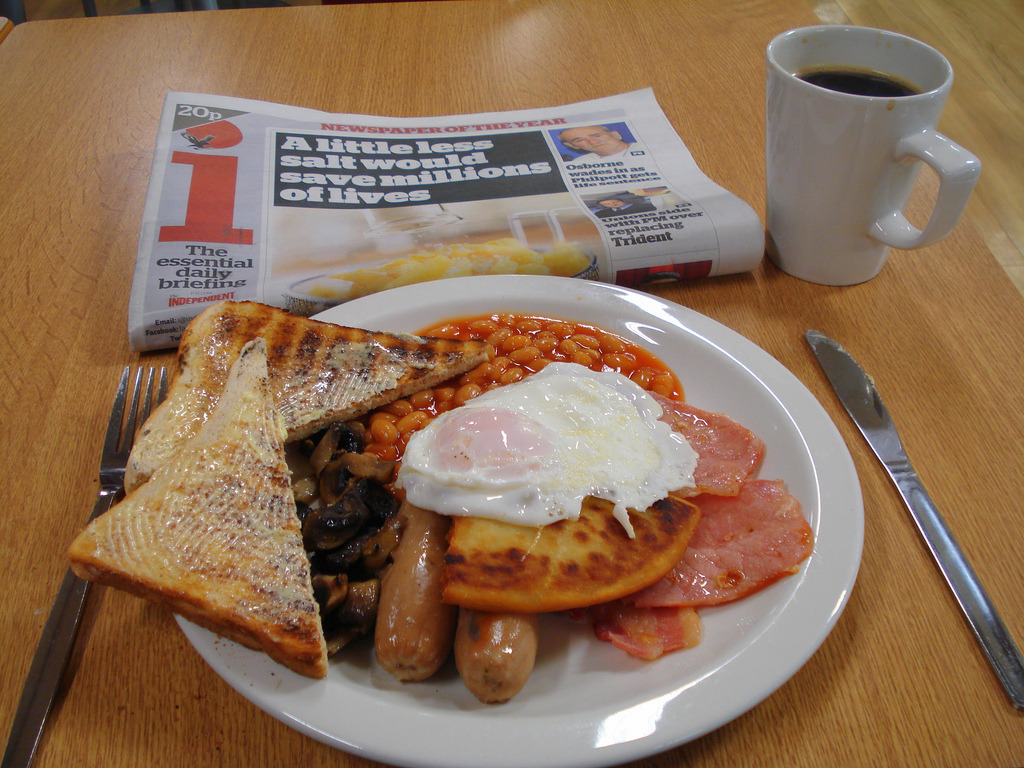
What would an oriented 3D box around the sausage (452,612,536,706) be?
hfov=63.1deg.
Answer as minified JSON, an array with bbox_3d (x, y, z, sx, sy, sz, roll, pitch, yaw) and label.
[{"bbox_3d":[-0.035,0.538,1.712,0.109,0.071,0.217,-1,26,-1],"label":"sausage"}]

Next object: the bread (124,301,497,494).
[{"bbox_3d":[-0.543,-0.024,2.160,0.638,0.107,0.416,-1,47,-12],"label":"bread"}]
